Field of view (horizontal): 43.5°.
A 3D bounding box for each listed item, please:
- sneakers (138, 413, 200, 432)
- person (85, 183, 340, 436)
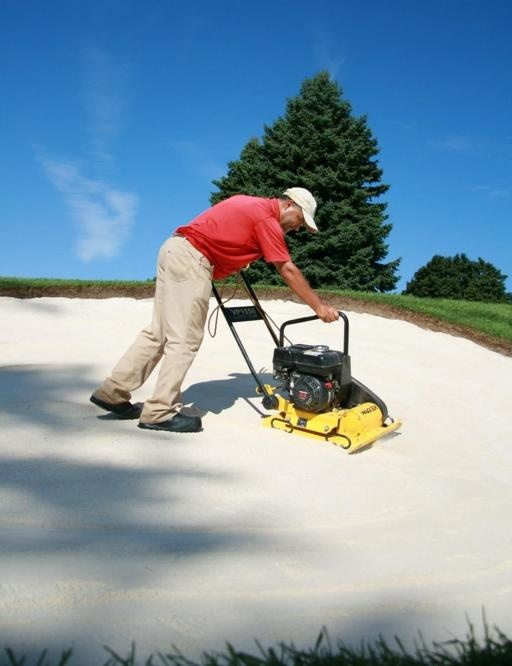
[{"bbox_3d":[-0.602,0.598,4.396,0.452,0.154,0.144,-1,1,-7],"label":"sneakers"},{"bbox_3d":[-0.342,-0.196,4.424,1.308,1.768,0.540,9,7,-11],"label":"person"}]
